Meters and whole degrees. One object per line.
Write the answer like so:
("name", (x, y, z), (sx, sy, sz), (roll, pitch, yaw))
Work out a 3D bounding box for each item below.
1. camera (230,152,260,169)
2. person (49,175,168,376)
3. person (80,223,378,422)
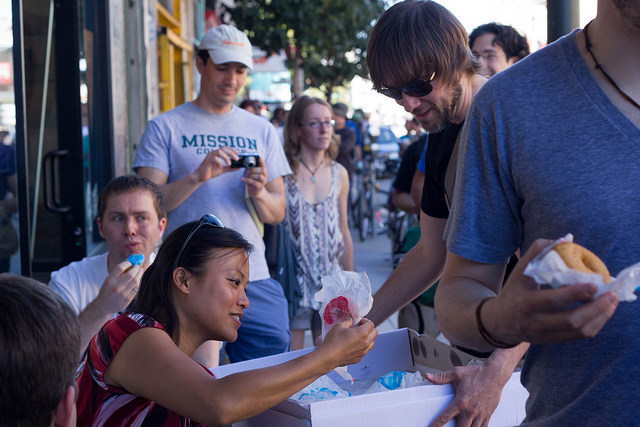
("camera", (-0.507, -0.351, 4.336), (0.119, 0.095, 0.233), (6, 9, 30))
("person", (-1.099, 0.301, 3.326), (0.630, 1.328, 0.639), (7, -16, -24))
("person", (-0.448, 0.565, 3.128), (1.013, 1.063, 0.828), (3, -5, -7))
